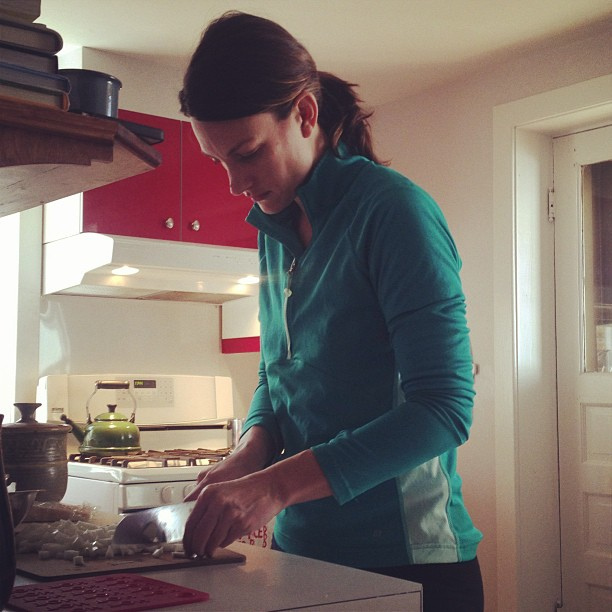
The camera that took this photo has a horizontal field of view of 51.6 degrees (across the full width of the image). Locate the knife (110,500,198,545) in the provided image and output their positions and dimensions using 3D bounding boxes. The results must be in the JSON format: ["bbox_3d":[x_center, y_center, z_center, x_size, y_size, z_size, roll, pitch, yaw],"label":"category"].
[{"bbox_3d":[-0.196,0.277,0.809,0.099,0.058,0.057,2,-4,-15],"label":"knife"}]

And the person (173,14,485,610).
[{"bbox_3d":[0.023,0.021,0.845,0.399,0.753,0.408,-1,-5,15],"label":"person"}]

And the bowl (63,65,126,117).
[{"bbox_3d":[-0.265,-0.261,0.793,0.081,0.044,0.078,0,-5,0],"label":"bowl"}]

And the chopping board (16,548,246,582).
[{"bbox_3d":[-0.218,0.306,0.757,0.289,0.016,0.135,1,-4,-5],"label":"chopping board"}]
